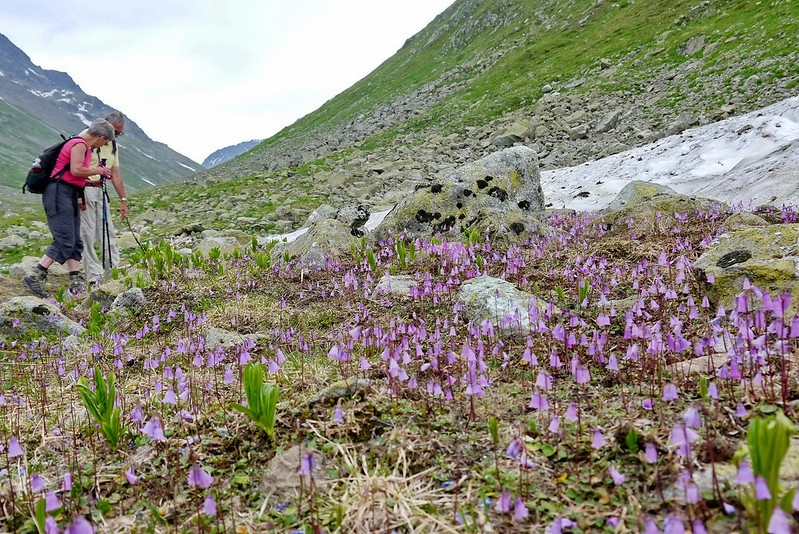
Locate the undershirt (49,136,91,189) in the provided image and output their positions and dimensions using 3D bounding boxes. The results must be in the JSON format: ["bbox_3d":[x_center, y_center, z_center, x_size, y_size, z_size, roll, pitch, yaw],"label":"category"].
[{"bbox_3d":[-6.769,-2.115,13.831,0.859,1.069,0.640,29,18,33],"label":"undershirt"}]

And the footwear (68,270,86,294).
[{"bbox_3d":[-6.910,0.359,14.460,0.228,0.516,0.325,-6,-18,13],"label":"footwear"}]

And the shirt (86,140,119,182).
[{"bbox_3d":[-6.824,-2.511,15.512,0.477,0.812,0.806,21,8,33],"label":"shirt"}]

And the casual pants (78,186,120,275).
[{"bbox_3d":[-6.933,-0.715,15.418,0.647,2.182,0.734,-5,3,21],"label":"casual pants"}]
